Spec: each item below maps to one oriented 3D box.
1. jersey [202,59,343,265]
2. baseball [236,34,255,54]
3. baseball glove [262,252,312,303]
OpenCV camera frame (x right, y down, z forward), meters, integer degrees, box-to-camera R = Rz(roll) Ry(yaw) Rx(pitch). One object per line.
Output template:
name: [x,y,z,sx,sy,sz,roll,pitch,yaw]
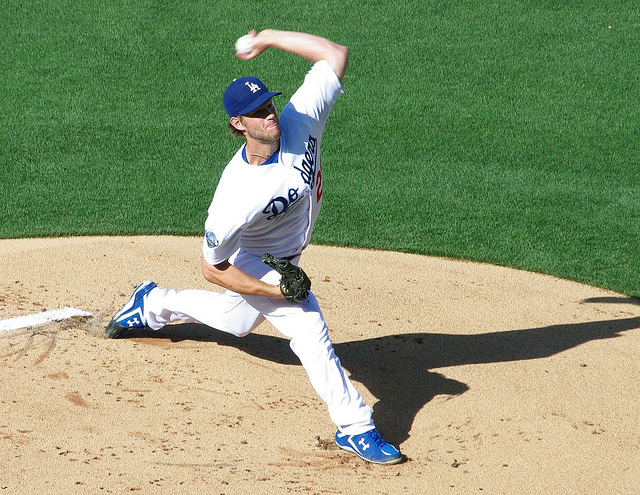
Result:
jersey: [-0.389,-0.771,10.364,0.632,1.891,1.311,21,19,30]
baseball: [-0.709,-1.910,10.534,0.093,0.172,0.178,20,52,-25]
baseball glove: [-0.334,0.240,10.324,0.384,0.448,0.387,-8,22,-28]
